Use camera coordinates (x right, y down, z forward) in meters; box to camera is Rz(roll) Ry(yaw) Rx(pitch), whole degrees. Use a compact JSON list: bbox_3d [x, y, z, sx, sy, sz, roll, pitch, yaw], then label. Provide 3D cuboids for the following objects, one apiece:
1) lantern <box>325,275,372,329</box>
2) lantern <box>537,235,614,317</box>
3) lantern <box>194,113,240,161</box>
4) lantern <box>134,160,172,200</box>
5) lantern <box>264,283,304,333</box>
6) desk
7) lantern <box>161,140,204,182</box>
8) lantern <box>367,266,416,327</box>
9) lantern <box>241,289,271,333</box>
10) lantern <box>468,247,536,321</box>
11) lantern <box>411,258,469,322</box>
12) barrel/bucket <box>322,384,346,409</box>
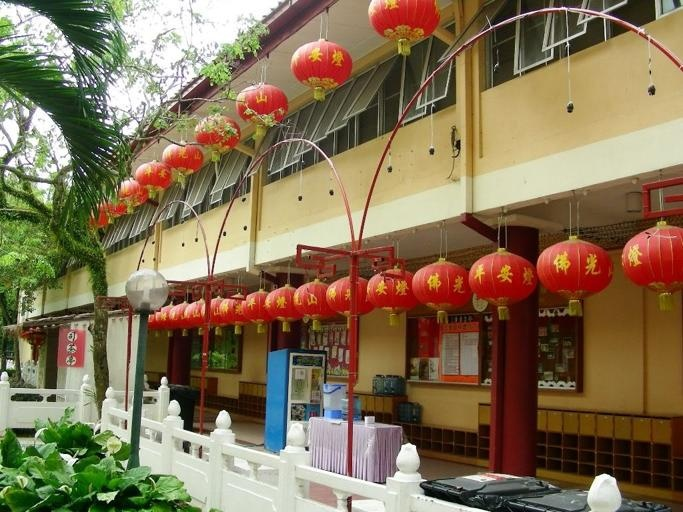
[{"bbox_3d":[0.059,0.577,7.186,0.479,0.602,0.546,1,6,12],"label":"lantern"},{"bbox_3d":[2.282,0.211,5.670,0.654,0.832,0.687,-3,-4,30],"label":"lantern"},{"bbox_3d":[-1.732,-1.719,8.473,0.638,0.793,0.650,-2,0,5],"label":"lantern"},{"bbox_3d":[-3.099,-1.236,9.689,0.570,0.713,0.575,4,-6,-35],"label":"lantern"},{"bbox_3d":[-0.868,0.804,8.674,0.604,0.762,0.644,0,-7,-2],"label":"lantern"},{"bbox_3d":[0.107,2.748,8.171,0.630,0.775,1.397,11,-16,-42],"label":"desk"},{"bbox_3d":[-2.486,-1.414,8.993,0.598,0.647,0.600,1,-12,-4],"label":"lantern"},{"bbox_3d":[0.589,0.493,6.639,0.574,0.721,0.616,0,-7,-3],"label":"lantern"},{"bbox_3d":[-1.293,0.894,9.349,0.560,0.685,0.557,-5,-7,39],"label":"lantern"},{"bbox_3d":[1.621,0.291,5.888,0.572,0.667,0.586,-6,-7,32],"label":"lantern"},{"bbox_3d":[1.078,0.376,6.437,0.622,0.746,0.632,1,-2,-32],"label":"lantern"},{"bbox_3d":[-0.154,2.191,8.897,0.360,0.403,0.338,1,-13,0],"label":"barrel/bucket"}]
